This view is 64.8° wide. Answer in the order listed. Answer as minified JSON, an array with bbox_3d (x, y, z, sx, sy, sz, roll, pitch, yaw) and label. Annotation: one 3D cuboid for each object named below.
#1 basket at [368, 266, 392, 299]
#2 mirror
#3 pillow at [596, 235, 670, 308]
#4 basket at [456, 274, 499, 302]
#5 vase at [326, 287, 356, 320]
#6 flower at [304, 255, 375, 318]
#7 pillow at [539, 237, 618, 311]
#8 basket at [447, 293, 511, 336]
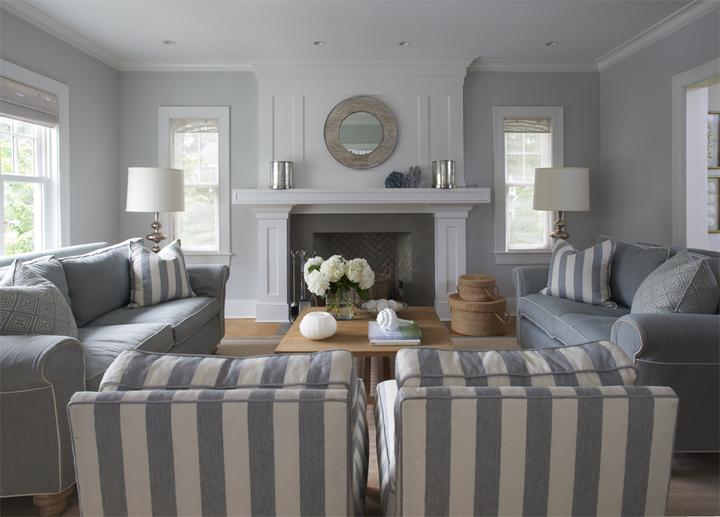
[{"bbox_3d":[0.237,0.301,6.239,0.282,0.305,0.324,0,-8,2],"label":"basket"},{"bbox_3d":[0.006,-1.334,5.892,0.778,0.737,0.026,-1,6,0],"label":"mirror"},{"bbox_3d":[1.952,0.119,4.089,0.204,0.425,0.525,-7,5,-12],"label":"pillow"},{"bbox_3d":[1.095,0.280,5.190,0.274,0.132,0.290,1,0,-21],"label":"basket"},{"bbox_3d":[-0.152,0.334,4.168,0.216,0.217,0.212,-1,-4,28],"label":"vase"},{"bbox_3d":[-0.167,0.195,4.105,0.495,0.444,0.475,0,-3,-10],"label":"flower"},{"bbox_3d":[1.732,0.144,4.492,0.245,0.515,0.639,16,-10,-38],"label":"pillow"},{"bbox_3d":[1.088,0.524,5.195,0.464,0.218,0.359,0,3,-2],"label":"basket"}]
